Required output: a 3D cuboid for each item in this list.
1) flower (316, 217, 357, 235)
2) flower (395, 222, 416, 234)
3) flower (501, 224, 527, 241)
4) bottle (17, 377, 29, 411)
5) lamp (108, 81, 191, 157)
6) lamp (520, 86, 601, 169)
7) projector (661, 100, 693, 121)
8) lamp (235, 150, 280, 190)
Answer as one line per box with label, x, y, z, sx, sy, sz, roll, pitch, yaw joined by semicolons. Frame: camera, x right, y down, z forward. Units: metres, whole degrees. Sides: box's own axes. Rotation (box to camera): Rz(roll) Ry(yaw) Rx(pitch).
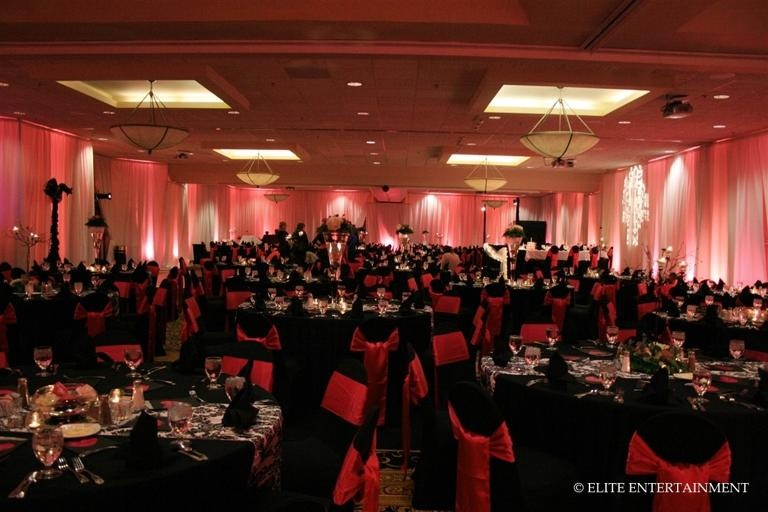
flower;-0.679;-0.404;7.877;0.374;0.184;0.364;-1;1;-42
flower;0.629;-0.784;17.820;0.537;0.332;0.521;1;0;-26
flower;2.179;-0.392;10.332;0.470;0.330;0.476;-1;-2;33
bottle;-2.620;1.000;4.370;0.069;0.226;0.147;2;-1;-33
lamp;-3.193;-1.970;8.227;0.987;1.224;0.924;4;-12;-30
lamp;2.363;-1.915;8.373;0.915;1.130;0.914;-2;11;1
projector;4.308;-2.160;8.817;0.345;0.276;0.442;-3;5;-11
lamp;-3.017;-2.165;14.318;0.973;0.991;0.967;-1;-4;29
